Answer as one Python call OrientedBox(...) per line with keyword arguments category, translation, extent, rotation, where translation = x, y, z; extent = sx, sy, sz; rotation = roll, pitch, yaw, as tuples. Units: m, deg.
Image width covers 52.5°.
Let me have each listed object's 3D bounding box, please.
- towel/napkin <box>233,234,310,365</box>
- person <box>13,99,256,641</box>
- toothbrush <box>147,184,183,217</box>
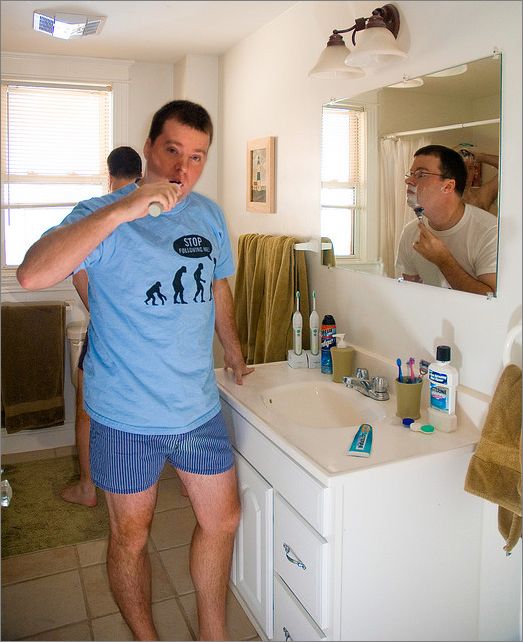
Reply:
OrientedBox(category="towel/napkin", translation=(0.058, -0.082, 2.185), extent=(0.138, 0.517, 0.492), rotation=(-3, 10, -16))
OrientedBox(category="person", translation=(-0.273, 0.221, 1.446), extent=(0.391, 1.570, 0.769), rotation=(-2, 6, 3))
OrientedBox(category="toothbrush", translation=(-0.193, -0.234, 1.074), extent=(0.053, 0.033, 0.100), rotation=(-8, 24, 13))
